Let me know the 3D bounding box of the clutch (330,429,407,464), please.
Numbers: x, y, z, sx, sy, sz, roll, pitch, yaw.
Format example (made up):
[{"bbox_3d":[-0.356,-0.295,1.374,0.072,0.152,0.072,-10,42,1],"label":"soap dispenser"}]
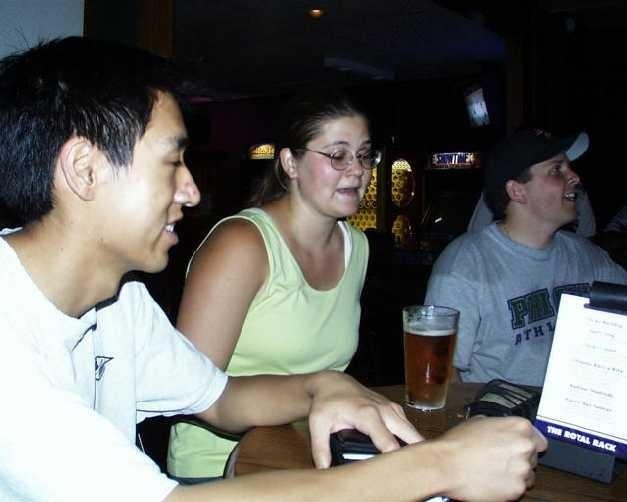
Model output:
[{"bbox_3d":[0.086,0.427,1.192,0.090,0.028,0.090,2,7,-1],"label":"clutch"}]

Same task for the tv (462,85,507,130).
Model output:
[{"bbox_3d":[2.154,-1.876,6.933,0.149,0.520,0.565,-15,-8,-30],"label":"tv"}]
